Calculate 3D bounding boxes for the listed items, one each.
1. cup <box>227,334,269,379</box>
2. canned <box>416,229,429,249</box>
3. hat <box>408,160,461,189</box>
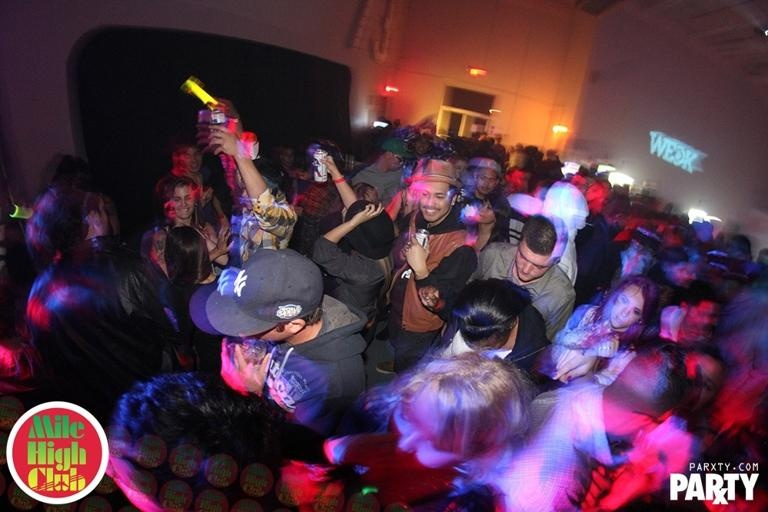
[{"bbox_3d":[-1.043,0.765,3.896,0.231,0.130,0.309,20,5,-27],"label":"cup"},{"bbox_3d":[0.347,-0.152,4.613,0.116,0.173,0.116,25,10,12],"label":"canned"},{"bbox_3d":[0.457,-0.811,4.807,0.324,0.118,0.303,1,10,-30],"label":"hat"}]
